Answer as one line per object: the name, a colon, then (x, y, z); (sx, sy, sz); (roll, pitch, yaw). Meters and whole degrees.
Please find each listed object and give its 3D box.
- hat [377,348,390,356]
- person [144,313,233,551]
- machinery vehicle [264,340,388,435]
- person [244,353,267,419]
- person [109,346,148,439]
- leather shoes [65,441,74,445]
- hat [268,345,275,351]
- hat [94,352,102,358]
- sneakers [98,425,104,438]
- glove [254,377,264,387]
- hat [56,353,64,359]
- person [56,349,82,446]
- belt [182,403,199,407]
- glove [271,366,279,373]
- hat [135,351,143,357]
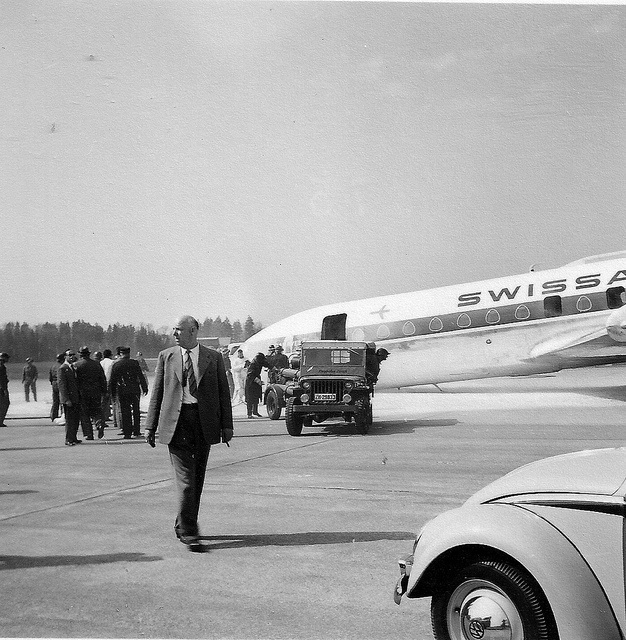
hat: (1.390, 0.618, 17.672); (0.304, 0.142, 0.355); (-1, 0, 7)
person: (-1.028, 0.883, 7.491); (0.725, 1.832, 0.621); (0, 1, -10)
machinery vehicle: (0.504, 1.078, 16.288); (1.681, 1.348, 2.778); (0, 7, 13)
person: (-1.278, 1.461, 20.053); (0.442, 1.426, 1.342); (0, 1, -3)
person: (-3.215, 1.261, 15.502); (0.432, 1.578, 0.610); (1, 2, 24)
leather shoes: (-3.867, 1.941, 14.248); (0.136, 0.052, 0.199); (0, 1, -15)
hat: (-0.947, 0.638, 20.953); (0.148, 0.064, 0.192); (-1, -8, -5)
hat: (-4.345, 0.723, 18.134); (0.126, 0.144, 0.153); (-2, -31, -21)
sneakers: (-3.691, 1.943, 15.595); (0.099, 0.250, 0.112); (5, -1, -3)
glove: (-1.205, 1.368, 20.093); (0.133, 0.190, 0.067); (-44, -6, -47)
hat: (-4.314, 0.601, 15.310); (0.116, 0.106, 0.083); (-7, 11, -30)
person: (-3.934, 1.243, 14.451); (0.361, 1.462, 1.137); (0, 1, -14)
belt: (-1.026, 0.699, 7.484); (0.115, 0.036, 0.011); (1, 1, 4)
glove: (-0.803, 1.034, 19.006); (0.112, 0.098, 0.026); (-7, -23, 20)
hat: (-3.672, 0.723, 18.957); (0.112, 0.074, 0.141); (-3, 4, -13)
